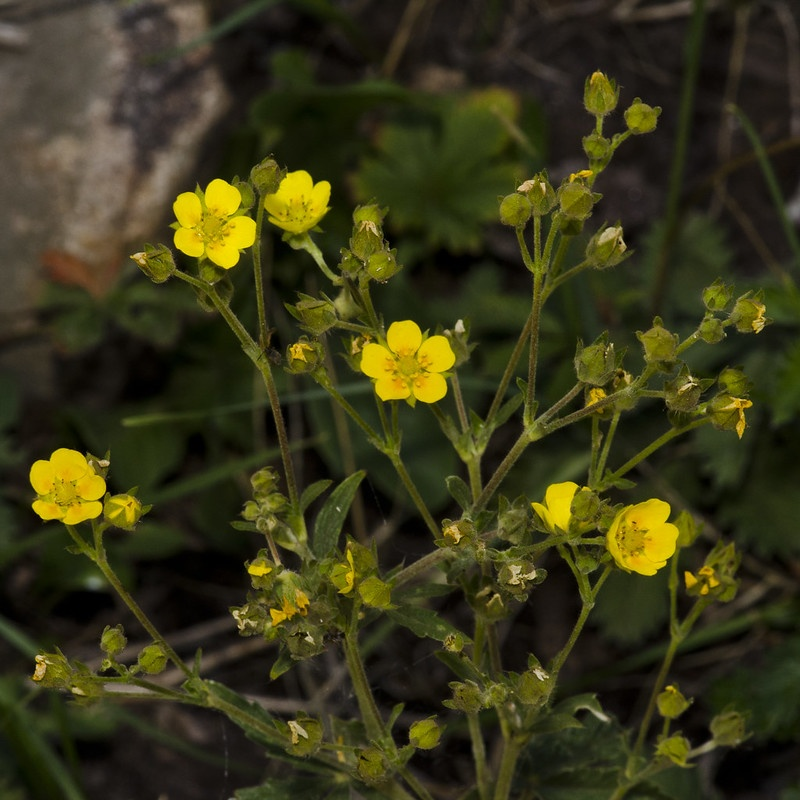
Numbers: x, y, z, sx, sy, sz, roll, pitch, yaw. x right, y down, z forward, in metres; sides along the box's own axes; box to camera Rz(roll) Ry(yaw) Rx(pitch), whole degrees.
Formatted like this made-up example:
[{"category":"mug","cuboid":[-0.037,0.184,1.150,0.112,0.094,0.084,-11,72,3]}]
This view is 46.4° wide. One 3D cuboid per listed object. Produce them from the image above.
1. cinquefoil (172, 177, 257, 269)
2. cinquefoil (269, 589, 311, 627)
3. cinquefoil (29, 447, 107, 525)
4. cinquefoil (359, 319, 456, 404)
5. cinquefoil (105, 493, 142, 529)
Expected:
[{"category":"cinquefoil","cuboid":[-0.313,-0.294,1.611,0.128,0.141,0.145,-9,56,2]},{"category":"cinquefoil","cuboid":[-0.195,0.348,1.610,0.075,0.030,0.061,-17,105,-3]},{"category":"cinquefoil","cuboid":[-0.562,0.150,1.580,0.120,0.105,0.118,-18,56,-5]},{"category":"cinquefoil","cuboid":[0.021,-0.065,1.592,0.156,0.057,0.155,-44,87,1]},{"category":"cinquefoil","cuboid":[-0.476,0.191,1.632,0.073,0.050,0.057,-2,93,-1]}]
